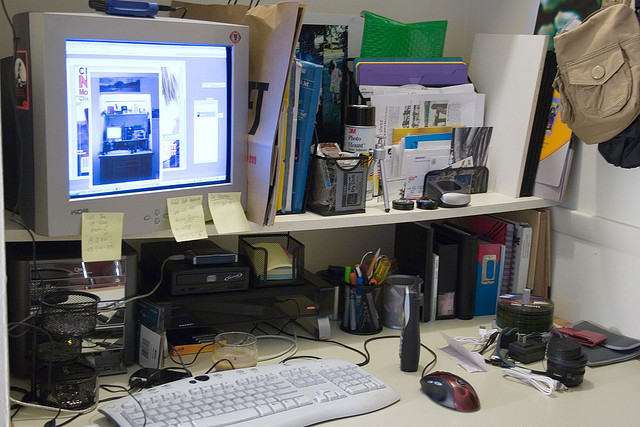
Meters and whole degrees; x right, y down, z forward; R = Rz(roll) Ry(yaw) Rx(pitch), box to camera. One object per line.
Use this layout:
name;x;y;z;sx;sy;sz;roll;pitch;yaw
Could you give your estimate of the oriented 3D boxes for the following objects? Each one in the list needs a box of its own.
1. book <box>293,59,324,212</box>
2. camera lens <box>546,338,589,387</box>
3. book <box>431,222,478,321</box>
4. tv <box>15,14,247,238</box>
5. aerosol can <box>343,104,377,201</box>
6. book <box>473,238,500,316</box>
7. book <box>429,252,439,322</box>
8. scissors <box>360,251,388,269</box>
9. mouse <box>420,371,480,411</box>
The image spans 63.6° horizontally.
book;-0.039;-0.219;1.512;0.075;0.440;0.068;8;16;40
camera lens;0.674;0.403;1.451;0.118;0.099;0.112;7;10;42
book;0.450;0.211;1.733;0.167;0.257;0.282;-1;10;-7
tv;-0.521;-0.268;1.410;0.570;0.480;0.315;-10;27;-41
aerosol can;0.128;-0.252;1.634;0.113;0.181;0.077;9;16;41
book;0.633;0.248;1.866;0.124;0.199;0.219;-7;-8;21
book;0.378;0.250;1.719;0.021;0.227;0.035;5;14;29
scissors;0.193;0.164;1.717;0.018;0.064;0.065;20;-5;-36
mouse;0.345;0.459;1.374;0.123;0.062;0.180;2;0;-32
